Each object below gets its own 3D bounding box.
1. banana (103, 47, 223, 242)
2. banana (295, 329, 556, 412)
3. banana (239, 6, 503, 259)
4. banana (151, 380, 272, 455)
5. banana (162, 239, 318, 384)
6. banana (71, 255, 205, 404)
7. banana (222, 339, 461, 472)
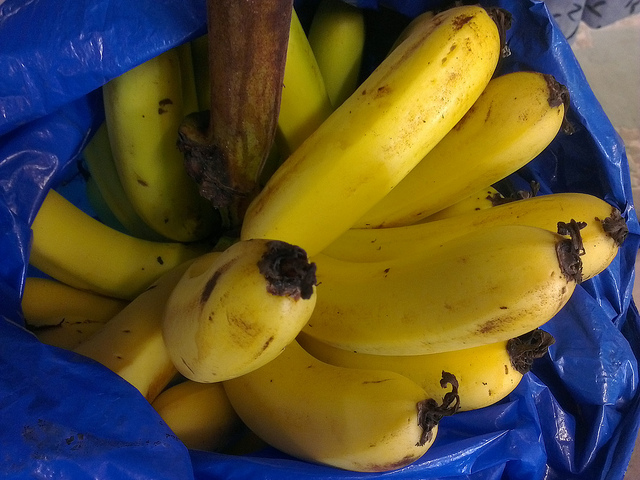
[{"bbox_3d":[-0.234,-0.077,1.194,0.090,0.390,0.122,12,36,32],"label":"banana"},{"bbox_3d":[0.122,0.166,1.020,0.240,0.097,0.072,11,14,-3],"label":"banana"},{"bbox_3d":[0.068,-0.123,0.998,0.124,0.367,0.098,43,3,-32],"label":"banana"},{"bbox_3d":[-0.154,0.239,1.082,0.146,0.044,0.100,42,55,-30],"label":"banana"},{"bbox_3d":[-0.075,0.072,0.985,0.153,0.261,0.162,11,68,-18],"label":"banana"},{"bbox_3d":[-0.254,0.124,1.222,0.105,0.147,0.425,-19,7,2],"label":"banana"},{"bbox_3d":[0.031,0.207,1.007,0.250,0.190,0.091,6,31,28],"label":"banana"}]
